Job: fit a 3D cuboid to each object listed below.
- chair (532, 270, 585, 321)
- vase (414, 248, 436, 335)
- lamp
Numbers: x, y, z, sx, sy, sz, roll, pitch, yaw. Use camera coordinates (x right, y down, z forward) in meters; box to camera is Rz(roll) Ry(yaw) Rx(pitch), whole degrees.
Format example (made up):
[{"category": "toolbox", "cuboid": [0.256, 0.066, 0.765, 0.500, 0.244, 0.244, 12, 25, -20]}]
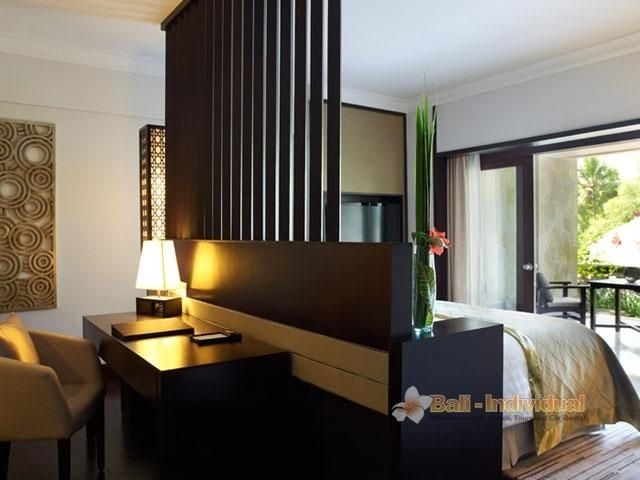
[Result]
[{"category": "chair", "cuboid": [2.637, 0.654, 5.439, 0.571, 0.695, 0.532, 1, -1, 5]}, {"category": "vase", "cuboid": [0.523, 0.242, 2.450, 0.101, 0.409, 0.162, 0, 13, 11]}, {"category": "lamp", "cuboid": [-1.214, 0.274, 3.673, 0.258, 0.572, 0.210, 1, 2, 18]}]
